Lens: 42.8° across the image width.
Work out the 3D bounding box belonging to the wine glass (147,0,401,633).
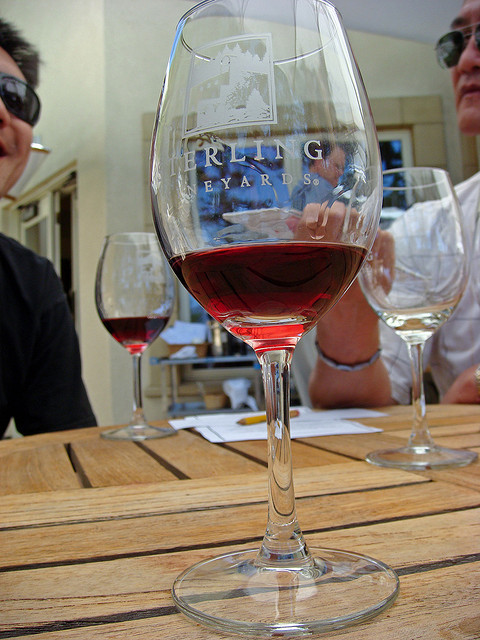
[{"bbox_3d":[0.008,-0.017,0.241,0.097,0.242,0.079,-4,-3,11],"label":"wine glass"}]
